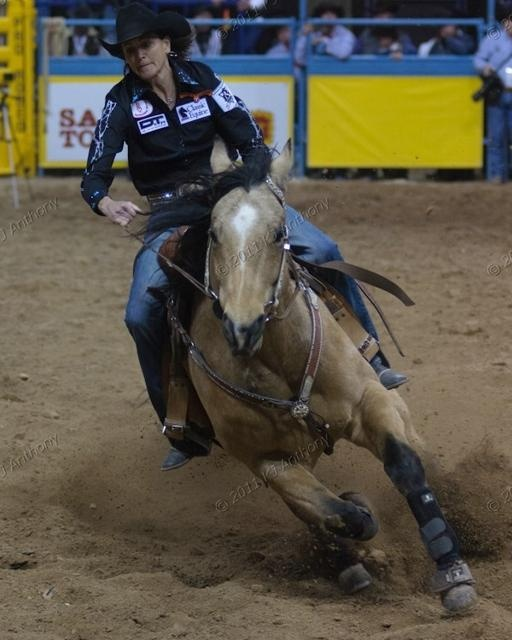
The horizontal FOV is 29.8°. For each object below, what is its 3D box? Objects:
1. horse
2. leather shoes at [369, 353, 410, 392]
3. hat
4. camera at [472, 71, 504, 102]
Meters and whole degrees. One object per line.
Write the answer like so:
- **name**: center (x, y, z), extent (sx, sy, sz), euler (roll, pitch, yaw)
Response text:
- **horse**: center (0.186, 0.245, 4.463), extent (1.359, 2.100, 1.284), euler (2, 11, -8)
- **leather shoes**: center (0.714, 0.290, 5.314), extent (0.125, 0.143, 0.334), euler (-4, 12, -21)
- **hat**: center (-0.534, -1.548, 5.072), extent (0.233, 0.208, 0.463), euler (9, 11, 30)
- **camera**: center (1.443, -1.444, 5.990), extent (0.177, 0.207, 0.423), euler (5, 10, 11)
